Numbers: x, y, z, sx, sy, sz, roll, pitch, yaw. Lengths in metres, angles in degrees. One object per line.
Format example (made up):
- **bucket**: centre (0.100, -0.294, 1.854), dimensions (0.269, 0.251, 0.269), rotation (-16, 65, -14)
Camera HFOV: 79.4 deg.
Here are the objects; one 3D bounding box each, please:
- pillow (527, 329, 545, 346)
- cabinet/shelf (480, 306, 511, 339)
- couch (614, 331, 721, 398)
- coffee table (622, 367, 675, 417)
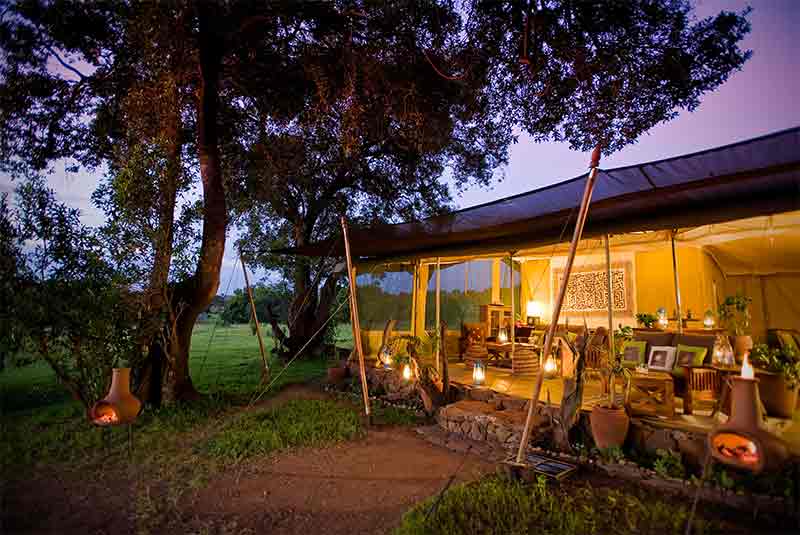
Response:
- **pillow**: centre (3.633, 1.822, 12.751), dimensions (0.346, 0.513, 0.352), rotation (21, -23, -31)
- **cabinet/shelf**: centre (2.850, 1.614, 14.217), dimensions (0.699, 1.347, 0.440), rotation (6, 7, 42)
- **couch**: centre (5.799, 2.196, 10.250), dimensions (1.062, 1.646, 2.009), rotation (3, -10, -21)
- **coffee table**: centre (4.761, 2.357, 9.152), dimensions (0.782, 1.005, 1.029), rotation (-1, 0, 18)
